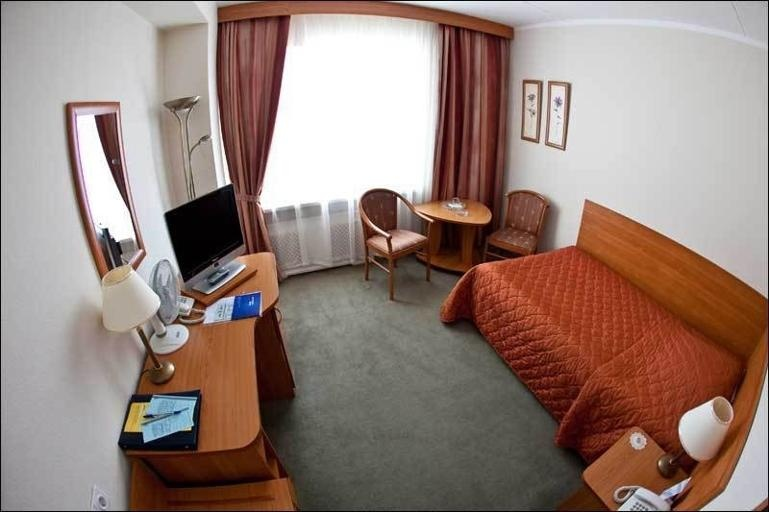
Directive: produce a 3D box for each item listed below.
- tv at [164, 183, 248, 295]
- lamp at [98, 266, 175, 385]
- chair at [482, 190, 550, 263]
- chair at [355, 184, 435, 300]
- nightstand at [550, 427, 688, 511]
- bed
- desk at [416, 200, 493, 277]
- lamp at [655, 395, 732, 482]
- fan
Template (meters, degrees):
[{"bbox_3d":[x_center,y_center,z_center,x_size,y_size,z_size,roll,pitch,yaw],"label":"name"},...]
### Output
[{"bbox_3d":[-1.190,-0.091,3.255,0.218,0.581,0.570,15,33,19],"label":"tv"},{"bbox_3d":[-1.298,0.374,2.623,0.250,0.677,0.324,-6,20,-6],"label":"lamp"},{"bbox_3d":[1.194,-0.199,4.530,0.478,0.709,0.479,14,31,23],"label":"chair"},{"bbox_3d":[0.095,-0.159,4.449,0.585,0.820,0.667,10,24,24],"label":"chair"},{"bbox_3d":[1.179,1.151,2.579,0.502,0.492,0.346,-39,65,-19],"label":"nightstand"},{"bbox_3d":[1.436,0.556,3.460,1.267,0.480,1.882,-11,30,-20],"label":"bed"},{"bbox_3d":[0.678,-0.200,4.845,0.739,0.568,0.698,-10,41,-18],"label":"desk"},{"bbox_3d":[1.538,0.895,2.435,0.313,0.423,0.142,4,21,19],"label":"lamp"},{"bbox_3d":[-1.329,0.290,2.919,0.253,0.537,0.327,-8,29,-9],"label":"fan"}]
